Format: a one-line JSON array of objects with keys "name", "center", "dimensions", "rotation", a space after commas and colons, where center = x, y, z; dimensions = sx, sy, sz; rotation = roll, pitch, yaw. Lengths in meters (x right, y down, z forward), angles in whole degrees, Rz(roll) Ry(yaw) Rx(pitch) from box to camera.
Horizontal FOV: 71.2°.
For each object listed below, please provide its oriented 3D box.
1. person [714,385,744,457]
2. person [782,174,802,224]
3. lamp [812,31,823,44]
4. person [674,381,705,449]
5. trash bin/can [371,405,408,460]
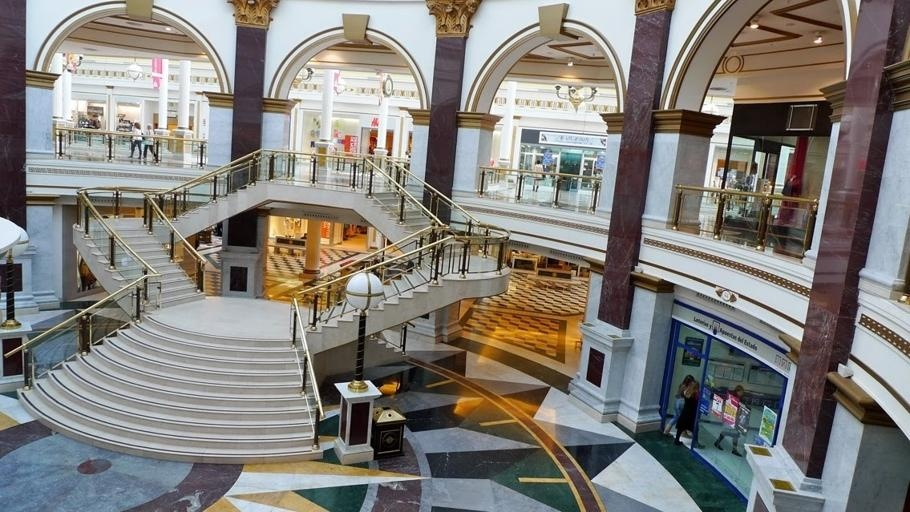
[{"name": "person", "center": [6.527, 3.824, 14.839], "dimensions": [0.182, 1.637, 0.708], "rotation": [-1, 17, -26]}, {"name": "person", "center": [7.870, -1.356, 14.905], "dimensions": [0.437, 1.193, 0.364], "rotation": [15, 15, 42]}, {"name": "lamp", "center": [10.146, -6.019, 17.670], "dimensions": [0.277, 0.253, 0.250], "rotation": [-2, 17, 4]}, {"name": "person", "center": [5.799, 3.890, 15.705], "dimensions": [0.331, 1.696, 0.551], "rotation": [1, 16, -22]}, {"name": "trash bin/can", "center": [-1.787, 4.131, 15.004], "dimensions": [1.217, 1.016, 1.150], "rotation": [5, -1, -10]}]
